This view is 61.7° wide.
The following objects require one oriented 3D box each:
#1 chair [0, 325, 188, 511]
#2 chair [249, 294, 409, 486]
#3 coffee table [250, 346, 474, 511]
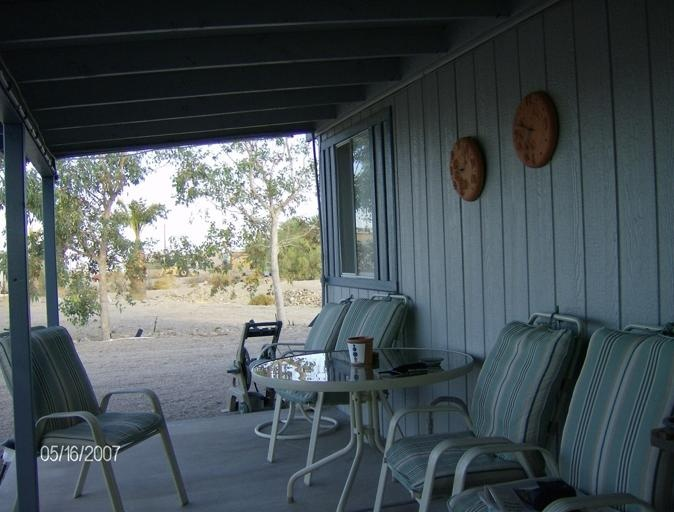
[{"bbox_3d":[-1.502,1.017,3.397,1.091,1.038,0.642,0,4,21],"label":"chair"},{"bbox_3d":[-0.220,0.931,4.596,1.175,1.777,1.074,7,-10,-42],"label":"chair"},{"bbox_3d":[0.159,0.855,3.220,0.965,0.691,1.041,-1,-4,2],"label":"coffee table"}]
